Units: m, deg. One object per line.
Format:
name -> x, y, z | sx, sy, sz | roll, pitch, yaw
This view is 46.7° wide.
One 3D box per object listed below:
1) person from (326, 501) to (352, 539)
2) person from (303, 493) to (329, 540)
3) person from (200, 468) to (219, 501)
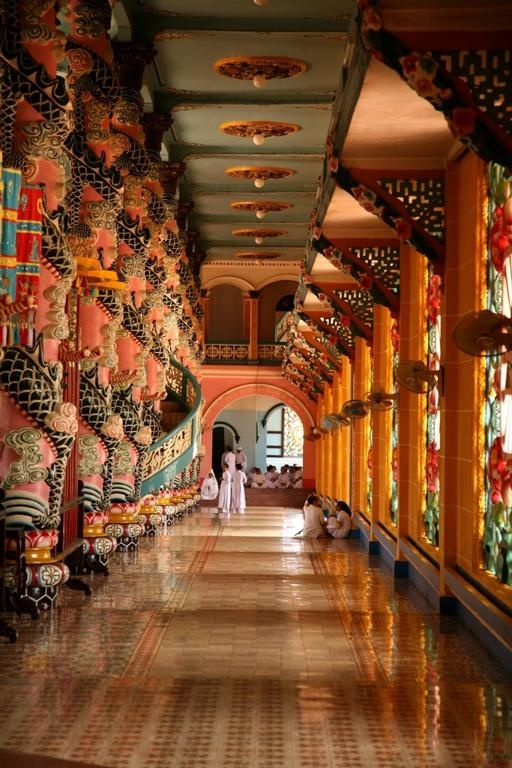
person -> 1.724, 2.831, 12.401 | 0.519, 0.724, 0.662 | 0, -8, 8
person -> 1.235, 2.784, 12.512 | 0.491, 0.864, 0.900 | 0, -8, 5
person -> -1.855, 4.068, 23.744 | 1.004, 1.524, 0.908 | 1, -3, -3
